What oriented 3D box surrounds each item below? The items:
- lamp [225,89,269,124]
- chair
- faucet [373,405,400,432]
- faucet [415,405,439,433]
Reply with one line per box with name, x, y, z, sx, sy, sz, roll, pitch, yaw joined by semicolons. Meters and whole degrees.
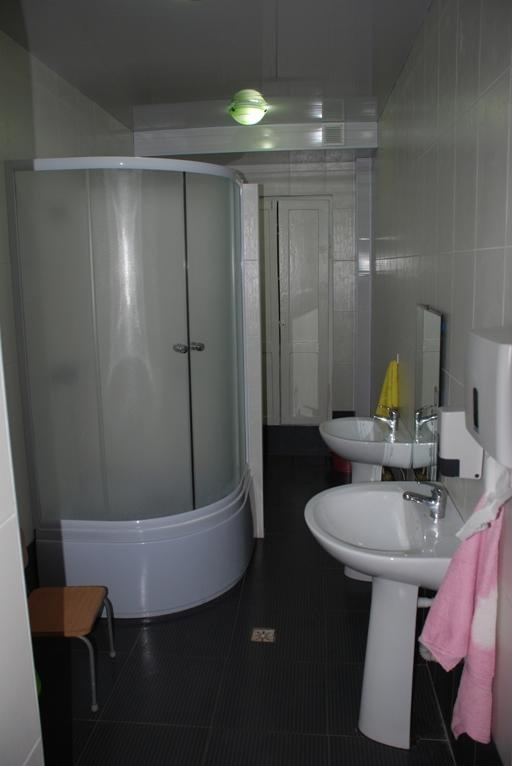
lamp;-0.045;-1.624;3.177;0.162;0.190;0.140;26;28;29
chair;-0.707;0.906;2.150;0.288;0.738;0.332;1;13;0
faucet;0.685;0.184;2.819;0.128;0.241;0.060;1;15;9
faucet;0.642;0.134;2.051;0.071;0.109;0.381;1;8;17
